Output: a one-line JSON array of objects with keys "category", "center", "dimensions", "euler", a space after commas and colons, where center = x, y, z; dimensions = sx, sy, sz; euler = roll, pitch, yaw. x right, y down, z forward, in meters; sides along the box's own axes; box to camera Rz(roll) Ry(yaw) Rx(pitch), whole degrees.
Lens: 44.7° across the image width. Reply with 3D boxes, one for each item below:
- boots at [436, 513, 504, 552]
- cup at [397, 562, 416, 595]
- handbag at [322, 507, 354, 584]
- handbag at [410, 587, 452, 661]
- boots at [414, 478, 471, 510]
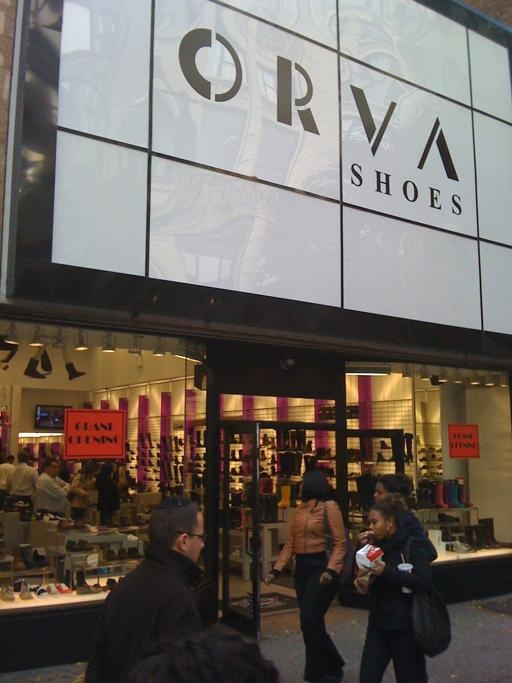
[{"category": "boots", "center": [2.743, 2.524, 8.313], "dimensions": [1.243, 0.561, 0.387], "euler": [4, -11, -32]}, {"category": "cup", "center": [0.730, 1.168, 3.051], "dimensions": [0.072, 0.153, 0.079], "euler": [0, -9, 0]}, {"category": "handbag", "center": [0.623, 1.492, 4.507], "dimensions": [0.260, 0.560, 0.305], "euler": [2, -9, -13]}, {"category": "handbag", "center": [0.855, 1.372, 3.011], "dimensions": [0.262, 0.318, 0.164], "euler": [8, -12, -41]}, {"category": "boots", "center": [2.398, 1.969, 8.055], "dimensions": [0.579, 0.522, 0.428], "euler": [3, -10, -6]}]
